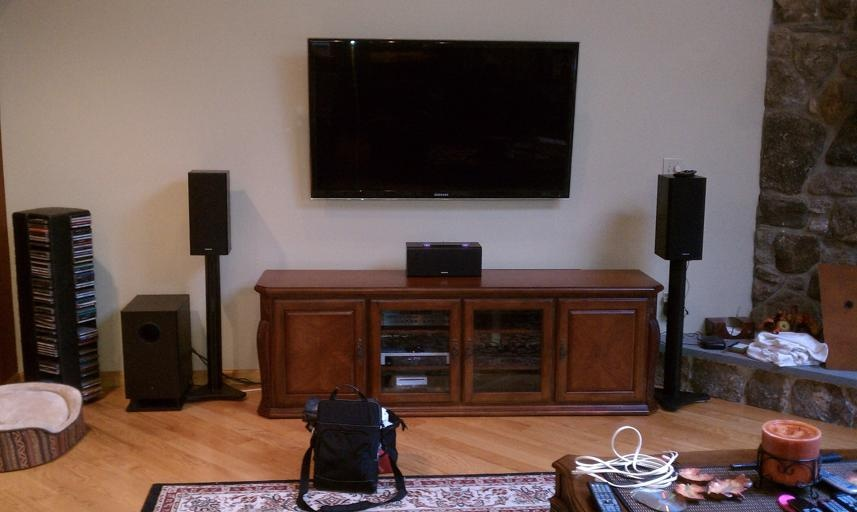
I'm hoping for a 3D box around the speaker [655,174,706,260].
[{"bbox_3d":[1.781,-0.287,4.917,0.329,0.633,0.201,2,8,20],"label":"speaker"}]

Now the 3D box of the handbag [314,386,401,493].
[{"bbox_3d":[-0.393,1.165,4.416,0.621,0.527,0.560,1,-5,6],"label":"handbag"}]

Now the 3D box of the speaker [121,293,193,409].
[{"bbox_3d":[-1.959,0.695,4.984,0.462,0.790,0.343,-3,7,-17],"label":"speaker"}]

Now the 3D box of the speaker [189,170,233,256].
[{"bbox_3d":[-1.570,-0.312,4.904,0.283,0.597,0.148,-3,7,-15],"label":"speaker"}]
